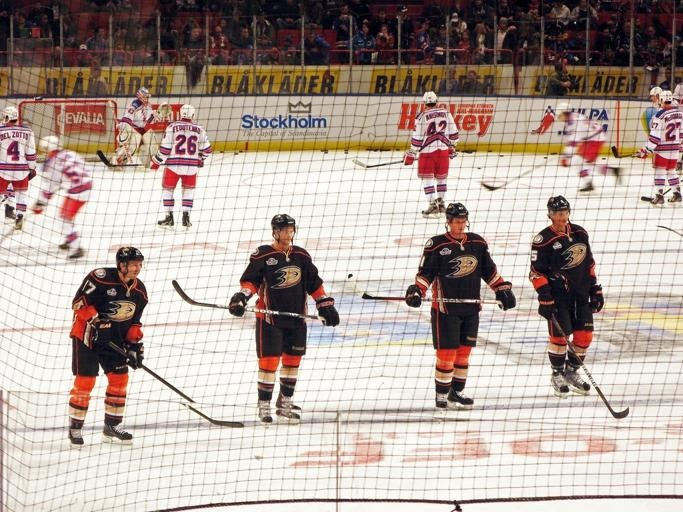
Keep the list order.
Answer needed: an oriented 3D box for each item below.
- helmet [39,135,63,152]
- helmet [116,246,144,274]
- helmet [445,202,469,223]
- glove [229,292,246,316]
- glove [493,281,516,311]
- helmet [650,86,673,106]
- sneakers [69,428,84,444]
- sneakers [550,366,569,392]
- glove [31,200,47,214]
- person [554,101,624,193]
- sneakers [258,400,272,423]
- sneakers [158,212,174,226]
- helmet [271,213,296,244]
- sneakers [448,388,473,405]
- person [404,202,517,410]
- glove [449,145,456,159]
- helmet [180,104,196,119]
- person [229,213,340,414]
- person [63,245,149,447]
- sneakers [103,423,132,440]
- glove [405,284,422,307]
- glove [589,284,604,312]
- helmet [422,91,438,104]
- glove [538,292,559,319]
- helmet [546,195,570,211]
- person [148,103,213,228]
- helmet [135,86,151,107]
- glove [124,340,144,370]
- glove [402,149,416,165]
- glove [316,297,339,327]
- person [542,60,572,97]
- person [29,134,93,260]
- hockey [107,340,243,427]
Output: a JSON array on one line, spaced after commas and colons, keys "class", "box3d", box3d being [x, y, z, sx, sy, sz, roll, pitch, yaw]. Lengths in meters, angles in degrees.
[{"class": "helmet", "box3d": [-3.786, -1.469, 14.093, 0.259, 0.237, 0.649, -1, 12, -15]}, {"class": "helmet", "box3d": [-1.849, 0.041, 9.596, 0.207, 0.255, 0.254, -3, 4, -43]}, {"class": "helmet", "box3d": [1.117, -0.421, 10.260, 0.178, 0.194, 0.206, 2, -9, -13]}, {"class": "glove", "box3d": [-0.943, 0.437, 9.923, 0.166, 0.209, 0.086, 3, 3, -1]}, {"class": "glove", "box3d": [1.549, 0.391, 10.357, 0.252, 0.246, 0.108, -5, -2, -20]}, {"class": "helmet", "box3d": [5.178, -2.607, 17.528, 0.336, 0.327, 0.384, -11, 8, -42]}, {"class": "sneakers", "box3d": [-2.333, 1.578, 9.494, 0.129, 0.149, 0.149, -2, 12, -16]}, {"class": "sneakers", "box3d": [2.100, 1.193, 10.414, 0.099, 0.124, 0.282, -3, 26, -1]}, {"class": "glove", "box3d": [-4.517, -0.730, 16.171, 0.311, 0.071, 0.316, 1, 21, 5]}, {"class": "person", "box3d": [4.043, -1.818, 18.208, 0.752, 1.541, 1.414, 4, 12, 13]}, {"class": "sneakers", "box3d": [-0.688, 1.421, 9.852, 0.130, 0.184, 0.154, 0, 12, -9]}, {"class": "sneakers", "box3d": [-2.623, -0.571, 16.117, 0.247, 0.231, 0.230, 2, 12, 1]}, {"class": "helmet", "box3d": [-0.530, -0.252, 10.069, 0.227, 0.249, 0.273, 1, -2, -19]}, {"class": "sneakers", "box3d": [1.116, 1.337, 10.283, 0.300, 0.197, 0.099, 2, 6, 15]}, {"class": "person", "box3d": [1.089, 0.456, 10.215, 0.935, 1.862, 0.610, -7, 14, -35]}, {"class": "glove", "box3d": [1.748, -1.634, 17.002, 0.134, 0.068, 0.179, 2, 30, -2]}, {"class": "helmet", "box3d": [-2.354, -2.171, 16.194, 0.253, 0.223, 0.383, 7, 11, -10]}, {"class": "person", "box3d": [-0.528, 0.545, 10.010, 0.640, 1.833, 0.874, 12, 16, 42]}, {"class": "person", "box3d": [-2.055, 0.788, 9.514, 0.728, 1.701, 0.518, -4, 13, -23]}, {"class": "sneakers", "box3d": [-1.975, 1.554, 9.591, 0.310, 0.169, 0.107, 4, 7, 1]}, {"class": "glove", "box3d": [0.683, 0.375, 10.104, 0.163, 0.205, 0.228, 2, 12, 3]}, {"class": "glove", "box3d": [2.519, 0.414, 10.522, 0.091, 0.236, 0.178, -1, -9, 2]}, {"class": "helmet", "box3d": [1.388, -2.561, 17.101, 0.223, 0.261, 0.272, 2, -1, 9]}, {"class": "glove", "box3d": [1.976, 0.480, 10.336, 0.189, 0.237, 0.102, -2, 12, -17]}, {"class": "helmet", "box3d": [2.134, -0.494, 10.505, 0.199, 0.178, 0.146, -18, 20, -4]}, {"class": "person", "box3d": [-2.391, -1.220, 16.129, 0.871, 1.512, 0.602, -1, 12, -10]}, {"class": "helmet", "box3d": [-3.627, -2.975, 20.200, 0.316, 0.367, 0.379, 0, 10, -23]}, {"class": "glove", "box3d": [-1.825, 0.867, 9.576, 0.170, 0.223, 0.087, -5, -5, -11]}, {"class": "glove", "box3d": [1.069, -1.514, 16.946, 0.123, 0.326, 0.141, 2, 33, -7]}, {"class": "glove", "box3d": [-0.128, 0.521, 10.170, 0.220, 0.264, 0.123, -10, -5, -19]}, {"class": "person", "box3d": [4.420, -3.657, 22.119, 0.452, 0.731, 0.839, 3, 12, 7]}, {"class": "person", "box3d": [-3.584, -0.782, 14.103, 0.601, 1.577, 0.706, -2, 12, -17]}, {"class": "hockey", "box3d": [-1.576, 1.238, 10.191, 1.198, 0.273, 0.066, 32, 37, -4]}]
